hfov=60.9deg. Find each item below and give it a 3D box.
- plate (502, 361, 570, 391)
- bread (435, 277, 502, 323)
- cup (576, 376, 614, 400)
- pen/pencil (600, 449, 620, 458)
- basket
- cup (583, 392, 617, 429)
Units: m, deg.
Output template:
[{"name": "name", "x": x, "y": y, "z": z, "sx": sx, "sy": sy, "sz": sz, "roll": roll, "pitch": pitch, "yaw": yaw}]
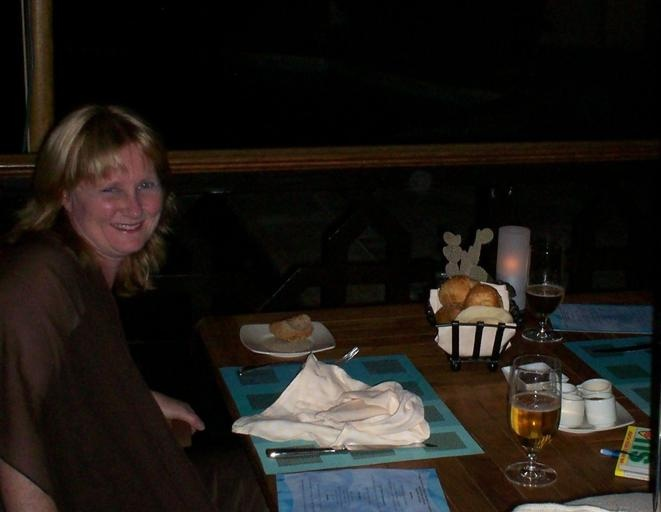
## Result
[{"name": "plate", "x": 0.498, "y": 0.282, "z": 1.299, "sx": 0.098, "sy": 0.030, "sz": 0.098, "roll": -1, "pitch": 20, "yaw": -1}, {"name": "bread", "x": 0.353, "y": 0.101, "z": 1.453, "sx": 0.133, "sy": 0.073, "sz": 0.137, "roll": 7, "pitch": 1, "yaw": 21}, {"name": "cup", "x": 0.574, "y": 0.283, "z": 1.210, "sx": 0.041, "sy": 0.039, "sz": 0.053, "roll": -19, "pitch": 10, "yaw": -6}, {"name": "pen/pencil", "x": 0.530, "y": 0.373, "z": 1.062, "sx": 0.042, "sy": 0.012, "sz": 0.012, "roll": 12, "pitch": -23, "yaw": -15}, {"name": "basket", "x": 0.367, "y": 0.155, "z": 1.485, "sx": 0.198, "sy": 0.125, "sz": 0.239, "roll": -1, "pitch": 24, "yaw": 4}, {"name": "cup", "x": 0.557, "y": 0.320, "z": 1.156, "sx": 0.060, "sy": 0.064, "sz": 0.064, "roll": -1, "pitch": -13, "yaw": 0}]
